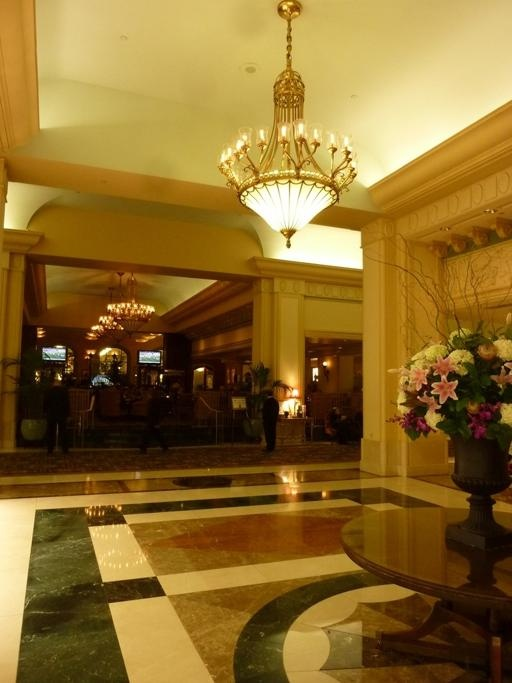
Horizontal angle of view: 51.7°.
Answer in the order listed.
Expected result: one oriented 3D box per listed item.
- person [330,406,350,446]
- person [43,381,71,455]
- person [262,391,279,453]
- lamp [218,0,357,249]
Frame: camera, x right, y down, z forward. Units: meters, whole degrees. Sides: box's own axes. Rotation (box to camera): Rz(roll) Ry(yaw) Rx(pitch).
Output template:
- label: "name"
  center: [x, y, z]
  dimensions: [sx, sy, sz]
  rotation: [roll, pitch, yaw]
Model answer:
- label: "person"
  center: [1.935, 1.968, 12.323]
  dimensions: [0.367, 0.816, 0.673]
  rotation: [-1, -6, 23]
- label: "person"
  center: [-3.493, 1.371, 9.318]
  dimensions: [0.442, 1.187, 0.392]
  rotation: [5, -7, -30]
- label: "person"
  center: [0.297, 1.651, 10.607]
  dimensions: [0.327, 1.043, 0.424]
  rotation: [1, -6, 1]
- label: "lamp"
  center: [0.377, -2.074, 5.808]
  dimensions: [1.415, 2.141, 2.233]
  rotation: [1, -6, 5]
